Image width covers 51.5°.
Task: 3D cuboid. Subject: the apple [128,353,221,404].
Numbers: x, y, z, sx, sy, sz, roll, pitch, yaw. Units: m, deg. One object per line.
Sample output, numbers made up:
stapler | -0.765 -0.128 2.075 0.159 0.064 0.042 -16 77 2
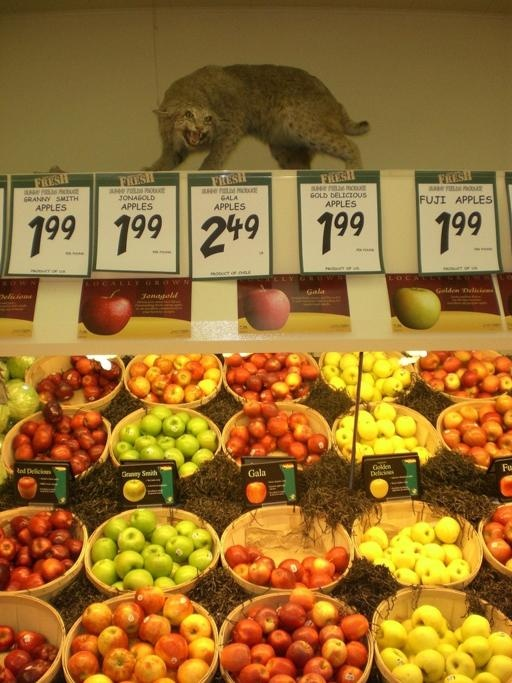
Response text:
apple | -0.435 0.199 2.863 0.429 0.167 0.403 -1 16 -18

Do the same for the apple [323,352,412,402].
apple | 0.587 0.182 2.888 0.386 0.150 0.377 12 24 26

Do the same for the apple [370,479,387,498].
apple | 0.489 0.590 2.152 0.070 0.084 0.071 1 -1 5

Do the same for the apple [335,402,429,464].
apple | 0.601 0.443 2.550 0.466 0.205 0.436 -1 16 2

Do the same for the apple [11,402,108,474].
apple | -0.910 0.451 2.498 0.325 0.135 0.311 1 33 5

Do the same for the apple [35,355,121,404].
apple | -0.970 0.195 2.873 0.462 0.221 0.345 -2 16 0
